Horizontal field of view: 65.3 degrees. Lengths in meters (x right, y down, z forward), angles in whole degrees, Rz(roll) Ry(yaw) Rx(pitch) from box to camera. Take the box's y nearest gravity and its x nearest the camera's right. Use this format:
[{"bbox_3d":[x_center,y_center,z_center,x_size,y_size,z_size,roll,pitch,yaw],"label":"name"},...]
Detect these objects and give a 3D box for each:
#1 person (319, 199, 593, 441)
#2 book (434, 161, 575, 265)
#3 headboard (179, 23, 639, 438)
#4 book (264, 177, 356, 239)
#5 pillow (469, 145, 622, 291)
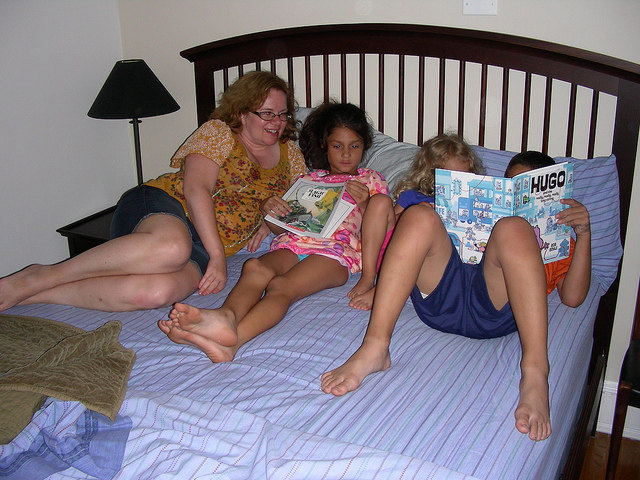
[{"bbox_3d":[0.432,0.058,1.392,0.502,0.507,0.857,6,32,28],"label":"person"},{"bbox_3d":[0.545,-0.068,1.469,0.367,0.300,0.019,1,37,9],"label":"book"},{"bbox_3d":[0.357,-0.024,1.725,1.550,1.462,0.110,11,27,15],"label":"headboard"},{"bbox_3d":[-0.029,-0.116,1.935,0.301,0.175,0.247,9,23,31],"label":"book"},{"bbox_3d":[1.096,-0.116,2.139,0.522,0.556,0.131,3,9,11],"label":"pillow"}]
